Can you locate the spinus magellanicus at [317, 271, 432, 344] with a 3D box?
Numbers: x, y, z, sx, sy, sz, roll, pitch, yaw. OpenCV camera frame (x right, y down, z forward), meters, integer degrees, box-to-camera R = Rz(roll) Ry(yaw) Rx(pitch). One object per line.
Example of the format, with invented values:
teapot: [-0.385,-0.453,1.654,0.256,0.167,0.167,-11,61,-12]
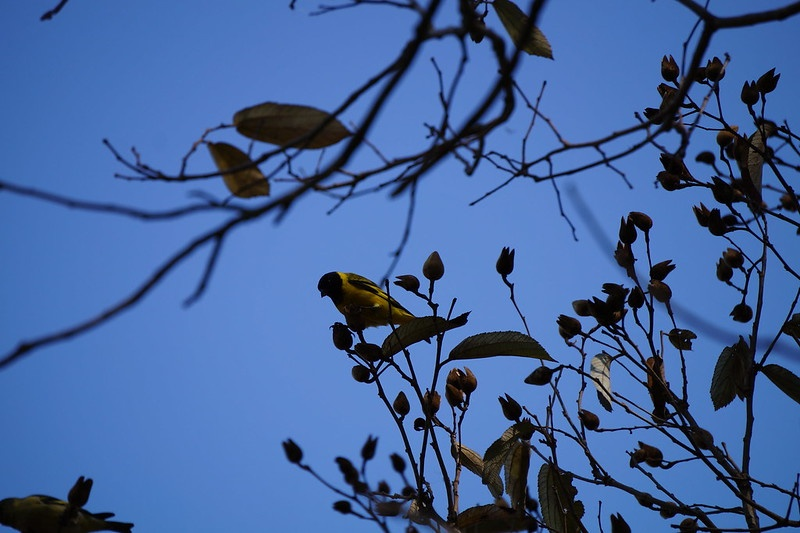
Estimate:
spinus magellanicus: [-0.249,0.246,9.720,0.815,0.428,0.322,1,-36,-29]
